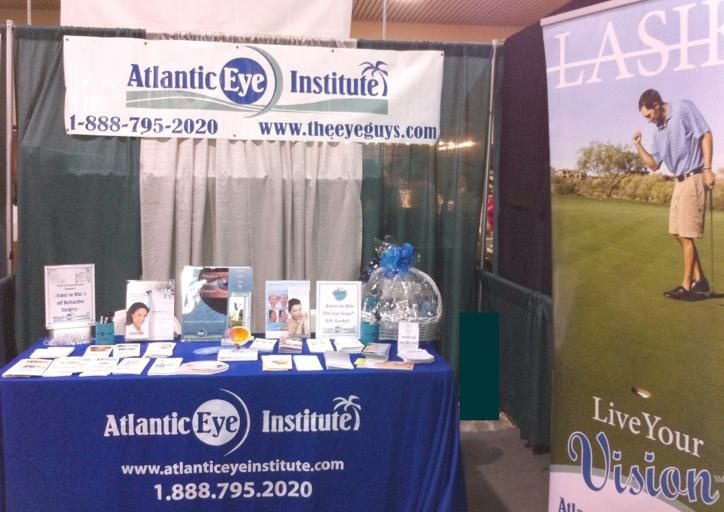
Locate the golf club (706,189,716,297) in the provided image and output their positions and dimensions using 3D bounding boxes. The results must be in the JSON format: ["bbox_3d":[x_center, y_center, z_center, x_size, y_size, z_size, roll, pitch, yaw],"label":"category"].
[{"bbox_3d":[1.779,-0.078,3.762,0.023,0.528,0.065,-2,6,-17],"label":"golf club"}]

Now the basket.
[{"bbox_3d":[0.234,0.299,4.628,0.434,0.464,0.446,2,-3,-14],"label":"basket"}]
